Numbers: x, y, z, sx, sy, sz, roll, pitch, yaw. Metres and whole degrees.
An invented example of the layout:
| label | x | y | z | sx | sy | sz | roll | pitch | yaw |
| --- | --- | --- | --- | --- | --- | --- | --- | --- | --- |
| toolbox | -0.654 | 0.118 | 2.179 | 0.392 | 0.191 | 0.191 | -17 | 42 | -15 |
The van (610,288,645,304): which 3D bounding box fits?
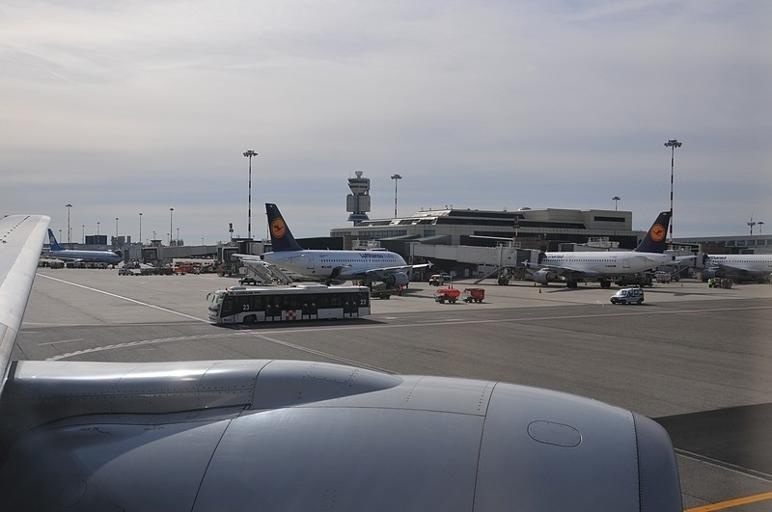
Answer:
| label | x | y | z | sx | sy | sz | roll | pitch | yaw |
| --- | --- | --- | --- | --- | --- | --- | --- | --- | --- |
| van | 18.507 | 3.058 | 60.907 | 2.236 | 0.803 | 1.379 | 2 | -3 | -22 |
